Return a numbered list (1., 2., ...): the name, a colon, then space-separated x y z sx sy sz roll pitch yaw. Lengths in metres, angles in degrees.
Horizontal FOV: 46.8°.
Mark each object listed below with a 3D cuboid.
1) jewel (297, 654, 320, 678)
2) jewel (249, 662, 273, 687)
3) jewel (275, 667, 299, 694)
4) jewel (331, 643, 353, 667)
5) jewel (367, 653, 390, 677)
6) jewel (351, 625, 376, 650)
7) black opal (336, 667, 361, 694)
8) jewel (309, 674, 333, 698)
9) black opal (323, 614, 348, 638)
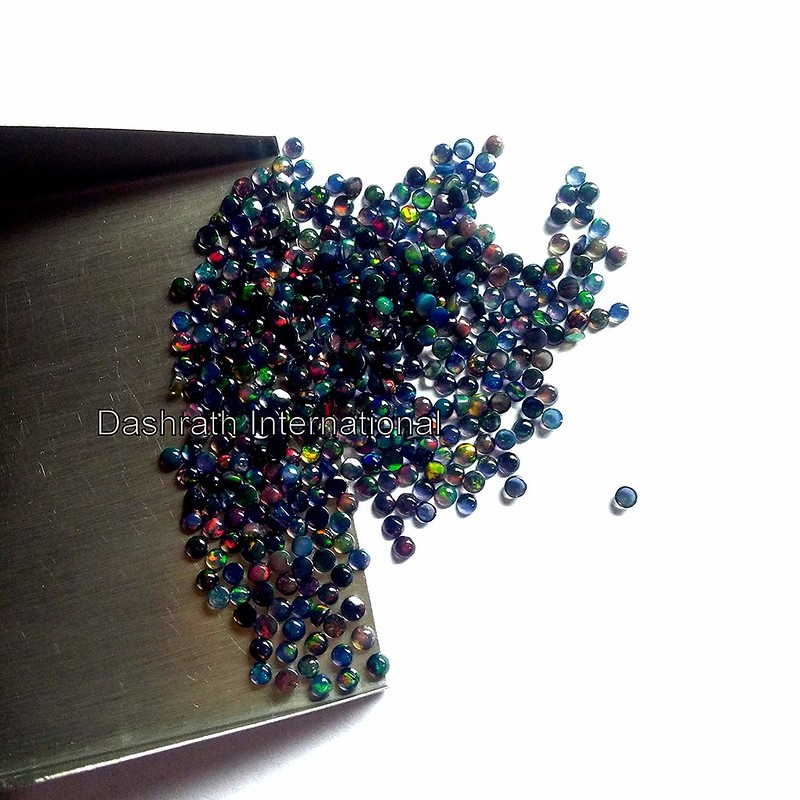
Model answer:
1. jewel: -0.151 0.441 1.535 0.036 0.036 0.020 -38 -6 2
2. jewel: -0.230 0.454 1.531 0.038 0.036 0.020 -7 1 11
3. jewel: -0.188 0.469 1.542 0.040 0.034 0.027 1 -38 -6
4. jewel: -0.096 0.428 1.545 0.038 0.035 0.020 30 -11 -3
5. jewel: -0.038 0.452 1.571 0.037 0.040 0.047 -2 -37 -2
6. jewel: -0.061 0.402 1.562 0.041 0.035 0.035 2 -38 -7
7. black opal: -0.086 0.466 1.543 0.024 0.041 0.043 3 -1 -29
8. jewel: -0.131 0.476 1.538 0.039 0.036 0.021 -5 -5 28
9. black opal: -0.109 0.376 1.542 0.039 0.036 0.020 -19 -1 0
